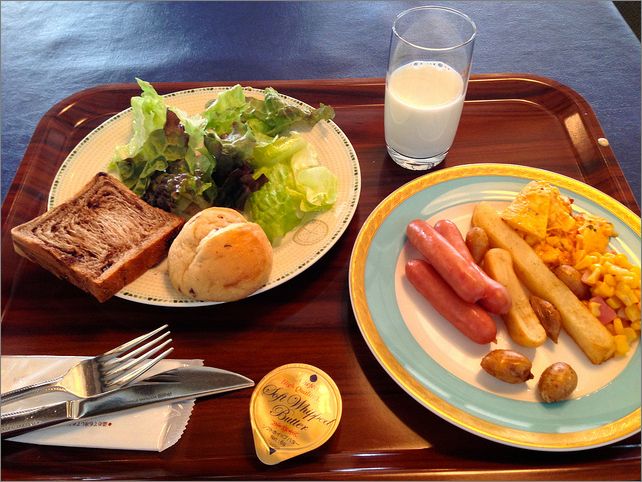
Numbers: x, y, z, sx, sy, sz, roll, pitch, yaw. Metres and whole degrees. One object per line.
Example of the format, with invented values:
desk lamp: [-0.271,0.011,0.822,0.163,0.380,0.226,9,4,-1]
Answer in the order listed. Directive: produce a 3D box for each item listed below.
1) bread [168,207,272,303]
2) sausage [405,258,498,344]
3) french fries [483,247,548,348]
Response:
bread: [-0.374,0.041,2.097,0.445,0.344,0.455,-10,26,-8]
sausage: [0.507,0.244,1.868,0.109,0.093,0.349,-29,54,-32]
french fries: [0.788,0.222,1.999,0.165,0.117,0.492,-5,48,-6]
